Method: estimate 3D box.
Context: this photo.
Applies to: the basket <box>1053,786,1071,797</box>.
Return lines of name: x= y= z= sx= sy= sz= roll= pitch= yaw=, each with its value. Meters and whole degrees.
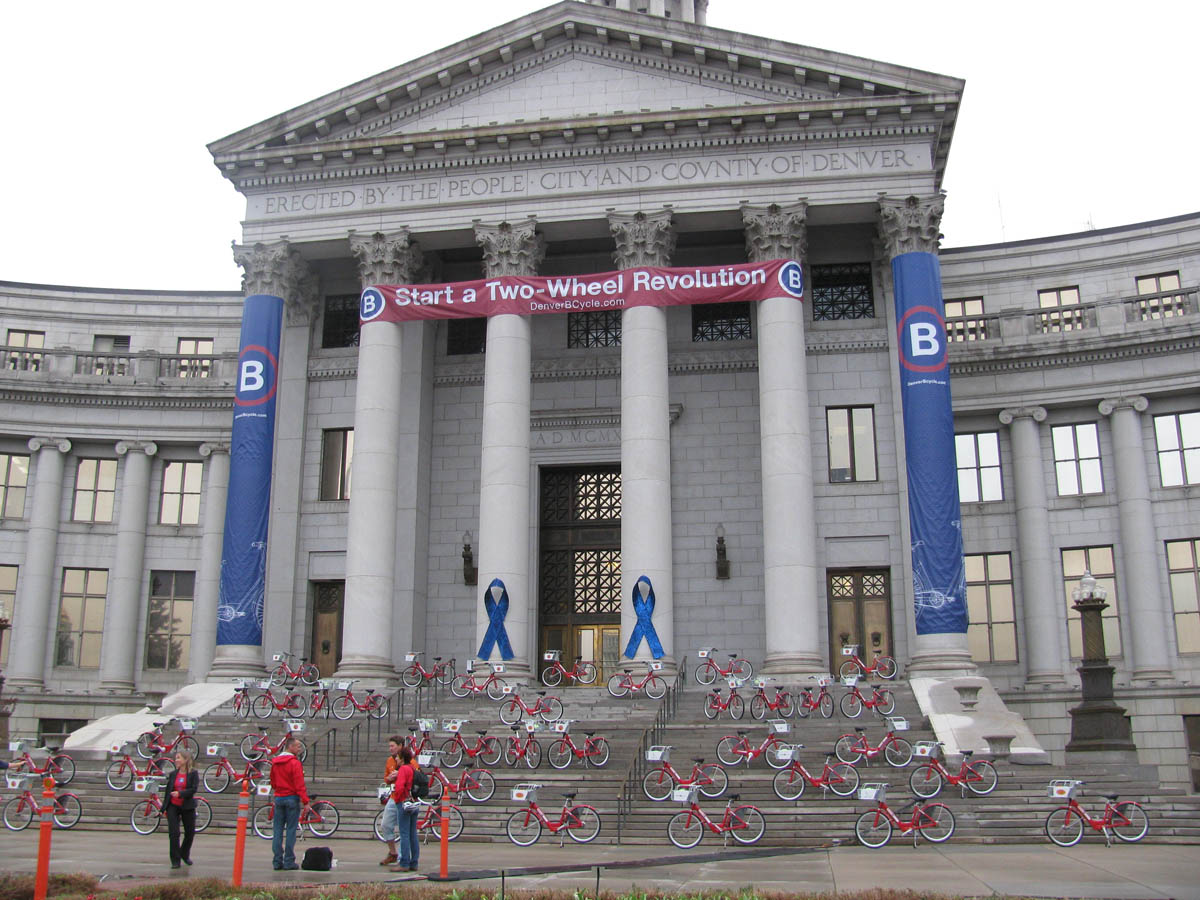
basket: x=9.519 y=7.084 z=28.057 sx=0.331 sy=0.203 sz=0.263 roll=-5 pitch=-14 yaw=14

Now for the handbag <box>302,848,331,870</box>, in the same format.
handbag: x=-5.165 y=7.615 z=25.236 sx=0.542 sy=0.352 sz=0.411 roll=0 pitch=-4 yaw=8

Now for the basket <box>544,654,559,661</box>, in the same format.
basket: x=-1.462 y=6.291 z=40.863 sx=0.509 sy=0.293 sz=0.486 roll=0 pitch=-16 yaw=0

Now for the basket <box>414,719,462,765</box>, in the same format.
basket: x=-4.114 y=7.452 z=34.464 sx=1.812 sy=1.010 sz=1.065 roll=0 pitch=-9 yaw=-7

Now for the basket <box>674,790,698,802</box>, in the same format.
basket: x=1.714 y=6.966 z=27.185 sx=0.411 sy=0.253 sz=0.386 roll=-1 pitch=-12 yaw=5

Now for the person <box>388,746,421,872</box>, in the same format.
person: x=-3.658 y=6.718 z=25.434 sx=0.505 sy=2.332 sz=1.153 roll=0 pitch=-14 yaw=-8

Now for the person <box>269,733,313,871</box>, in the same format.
person: x=-5.813 y=6.759 z=25.311 sx=0.602 sy=2.197 sz=0.768 roll=1 pitch=-14 yaw=-12

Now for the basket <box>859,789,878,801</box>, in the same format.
basket: x=5.431 y=7.127 z=27.565 sx=0.414 sy=0.262 sz=0.402 roll=-3 pitch=-5 yaw=8

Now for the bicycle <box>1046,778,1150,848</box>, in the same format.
bicycle: x=10.416 y=7.701 z=28.561 sx=2.213 sy=1.233 sz=0.763 roll=-1 pitch=-18 yaw=-2
